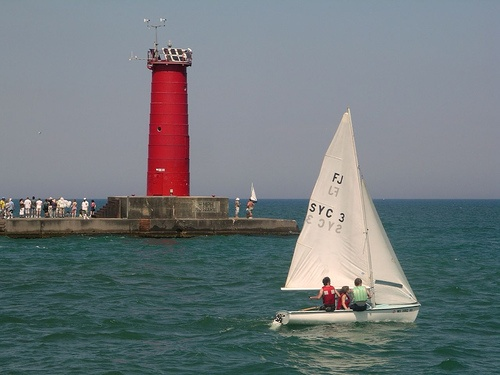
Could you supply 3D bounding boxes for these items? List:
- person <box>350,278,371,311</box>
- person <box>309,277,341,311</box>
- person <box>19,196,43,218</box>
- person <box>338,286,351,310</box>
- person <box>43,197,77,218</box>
[{"bbox_3d":[4.363,4.190,41.441,0.866,1.283,0.508,5,-6,-43],"label":"person"},{"bbox_3d":[2.998,4.189,41.914,1.015,1.994,1.085,-2,34,-5],"label":"person"},{"bbox_3d":[-13.163,1.257,63.557,1.388,1.237,0.393,2,11,2],"label":"person"},{"bbox_3d":[3.732,4.324,41.507,0.336,0.887,0.495,-16,35,-14],"label":"person"},{"bbox_3d":[-11.559,1.291,64.189,1.469,0.982,1.877,0,1,-8],"label":"person"}]
